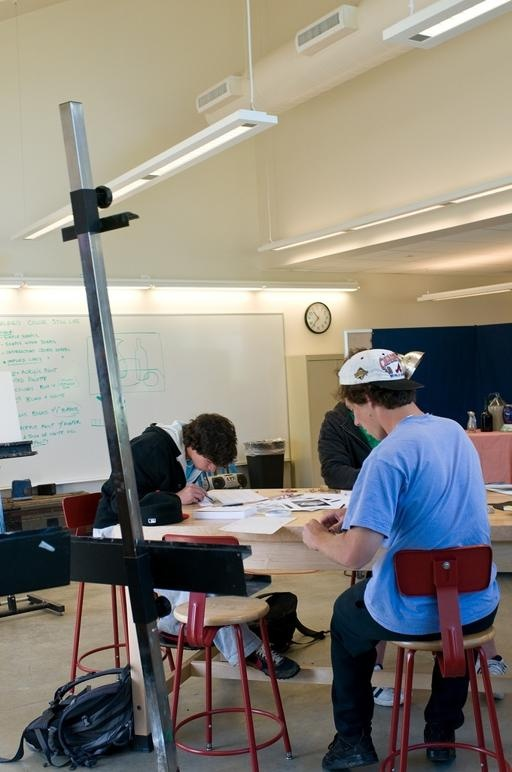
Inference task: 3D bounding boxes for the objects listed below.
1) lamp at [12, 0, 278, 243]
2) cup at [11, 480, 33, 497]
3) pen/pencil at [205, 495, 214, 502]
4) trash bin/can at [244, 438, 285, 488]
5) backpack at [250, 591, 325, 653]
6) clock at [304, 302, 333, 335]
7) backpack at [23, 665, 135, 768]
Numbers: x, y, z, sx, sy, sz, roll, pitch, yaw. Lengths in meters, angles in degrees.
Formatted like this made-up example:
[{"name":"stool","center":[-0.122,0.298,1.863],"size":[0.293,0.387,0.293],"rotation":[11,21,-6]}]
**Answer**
[{"name":"lamp","center":[-0.680,-1.748,4.187],"size":[0.797,0.810,2.888],"rotation":[-9,4,-32]},{"name":"cup","center":[-2.071,0.901,5.495],"size":[0.188,0.189,0.137],"rotation":[7,-7,-45]},{"name":"pen/pencil","center":[-0.225,0.554,3.075],"size":[0.011,0.011,0.080],"rotation":[14,12,-22]},{"name":"trash bin/can","center":[0.117,0.914,7.359],"size":[0.485,0.512,0.456],"rotation":[-2,-7,-7]},{"name":"backpack","center":[0.193,1.274,3.312],"size":[0.341,0.317,0.243],"rotation":[4,45,51]},{"name":"clock","center":[0.797,-0.892,8.128],"size":[0.423,0.402,0.065],"rotation":[-10,6,-35]},{"name":"backpack","center":[-0.733,1.313,2.518],"size":[0.337,0.313,0.395],"rotation":[-10,5,-40]}]
